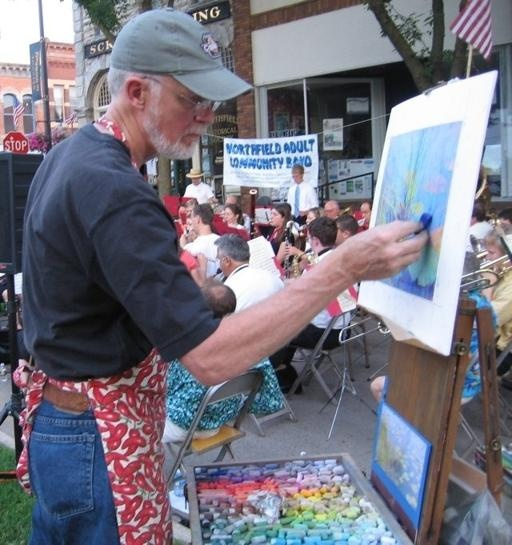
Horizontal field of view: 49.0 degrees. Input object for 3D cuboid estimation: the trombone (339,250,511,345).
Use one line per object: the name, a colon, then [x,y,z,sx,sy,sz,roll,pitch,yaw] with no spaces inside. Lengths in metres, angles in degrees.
trombone: [0.537,0.072,1.633,0.076,0.352,0.324,27,-13,-28]

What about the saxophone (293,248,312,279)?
saxophone: [0.538,-0.120,6.351,0.318,0.194,0.395,-7,7,-1]

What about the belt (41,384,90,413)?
belt: [-0.491,0.313,1.419,0.091,0.037,0.069,27,2,21]

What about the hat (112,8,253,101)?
hat: [-0.180,-0.532,1.349,0.286,0.169,0.205,9,27,8]
